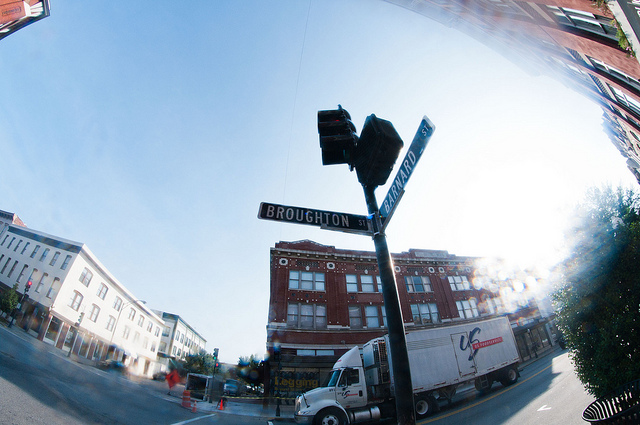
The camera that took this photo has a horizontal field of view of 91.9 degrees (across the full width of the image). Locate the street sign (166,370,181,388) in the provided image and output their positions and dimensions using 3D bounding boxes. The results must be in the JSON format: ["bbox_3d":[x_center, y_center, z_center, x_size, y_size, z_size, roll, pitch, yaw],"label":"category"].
[{"bbox_3d":[-8.576,9.619,18.110,0.588,0.851,0.881,8,-33,-15],"label":"street sign"}]

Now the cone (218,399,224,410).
[{"bbox_3d":[-7.788,15.265,24.707,0.345,0.683,1.115,7,-33,-13],"label":"cone"}]

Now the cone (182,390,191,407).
[{"bbox_3d":[-9.434,13.263,22.114,0.772,0.881,0.771,12,-29,-44],"label":"cone"}]

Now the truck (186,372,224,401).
[{"bbox_3d":[-11.432,17.504,31.392,3.848,1.942,3.949,-8,-28,33],"label":"truck"}]
